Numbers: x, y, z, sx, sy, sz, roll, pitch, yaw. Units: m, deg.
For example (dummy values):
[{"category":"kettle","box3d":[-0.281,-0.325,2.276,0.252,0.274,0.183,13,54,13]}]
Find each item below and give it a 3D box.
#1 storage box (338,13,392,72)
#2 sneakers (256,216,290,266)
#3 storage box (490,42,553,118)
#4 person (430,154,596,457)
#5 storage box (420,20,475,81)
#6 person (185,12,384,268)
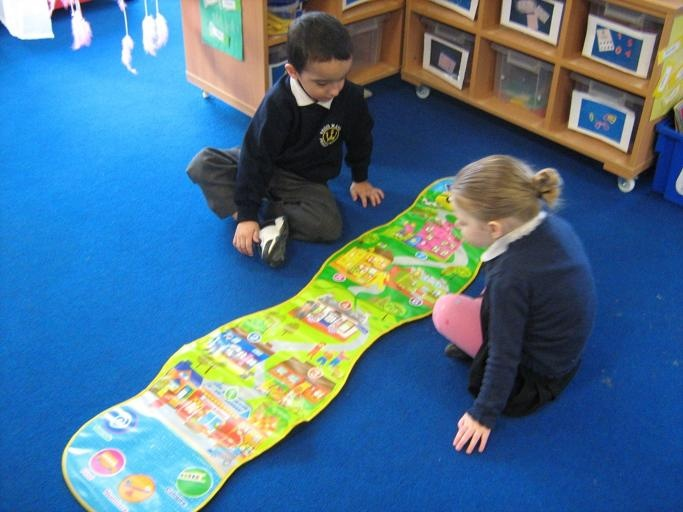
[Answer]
[{"category":"storage box","box3d":[0.139,-1.188,2.933,0.304,0.307,0.211,-24,39,-30]},{"category":"sneakers","box3d":[-0.242,-0.051,1.998,0.076,0.098,0.178,-1,35,17]},{"category":"storage box","box3d":[0.862,-0.847,2.642,0.375,0.243,0.295,14,76,-18]},{"category":"person","box3d":[0.520,0.084,1.608,0.444,0.824,0.817,4,34,26]},{"category":"storage box","box3d":[0.560,-1.062,2.687,0.224,0.217,0.181,34,50,26]},{"category":"person","box3d":[-0.152,-0.500,1.982,0.755,0.869,0.517,-15,55,-22]}]
